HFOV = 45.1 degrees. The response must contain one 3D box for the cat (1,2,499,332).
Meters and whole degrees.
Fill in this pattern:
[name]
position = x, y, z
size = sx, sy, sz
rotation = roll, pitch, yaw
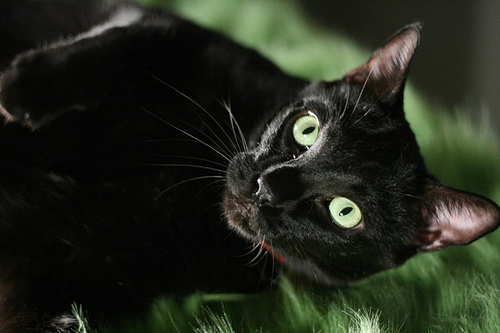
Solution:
[cat]
position = -0.180, -0.093, 2.403
size = 1.839, 0.606, 1.241
rotation = -11, 66, 0
